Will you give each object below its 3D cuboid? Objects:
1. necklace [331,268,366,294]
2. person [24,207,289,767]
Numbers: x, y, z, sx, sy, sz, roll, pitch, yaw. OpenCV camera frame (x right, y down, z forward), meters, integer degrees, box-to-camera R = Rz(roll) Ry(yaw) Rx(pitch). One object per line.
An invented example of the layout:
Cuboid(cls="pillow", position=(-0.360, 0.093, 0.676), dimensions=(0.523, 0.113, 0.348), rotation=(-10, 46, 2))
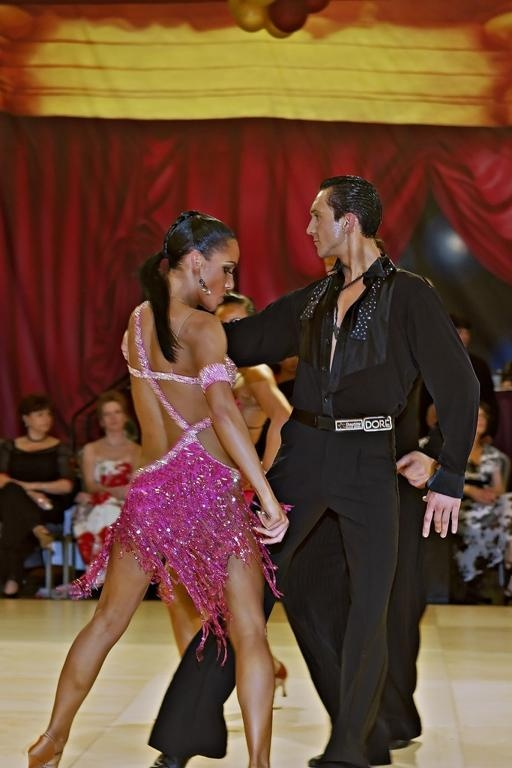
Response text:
Cuboid(cls="necklace", position=(0.217, -0.242, 1.508), dimensions=(0.057, 0.014, 0.054), rotation=(10, 49, 39))
Cuboid(cls="person", position=(-0.201, 0.186, 1.386), dimensions=(0.520, 1.136, 0.476), rotation=(-2, 6, 2))
